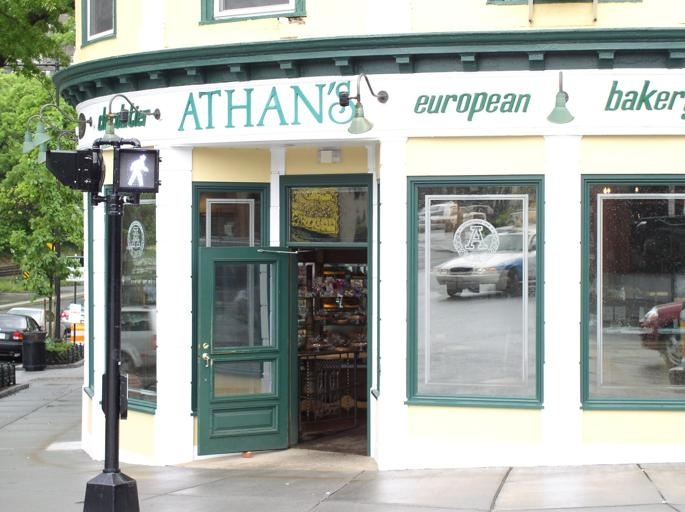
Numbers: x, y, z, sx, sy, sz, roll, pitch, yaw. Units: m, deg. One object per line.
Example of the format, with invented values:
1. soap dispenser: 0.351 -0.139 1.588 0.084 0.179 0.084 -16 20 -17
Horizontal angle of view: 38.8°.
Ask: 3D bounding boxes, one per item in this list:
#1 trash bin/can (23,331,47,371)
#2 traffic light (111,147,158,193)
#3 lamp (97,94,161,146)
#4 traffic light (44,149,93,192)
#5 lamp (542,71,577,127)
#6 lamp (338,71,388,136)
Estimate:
1. trash bin/can: -8.300 2.632 26.527 0.764 0.938 0.743 0 -7 -22
2. traffic light: -2.434 -1.033 11.878 0.607 0.558 0.344 2 1 3
3. lamp: -2.713 -1.734 12.500 0.798 0.610 0.694 3 12 -5
4. traffic light: -3.287 -1.063 11.793 0.564 0.489 0.218 2 20 -10
5. lamp: 2.808 -2.065 12.656 0.353 0.695 0.474 -3 5 12
6. lamp: 0.278 -2.037 12.935 0.680 0.809 0.673 -4 5 0
